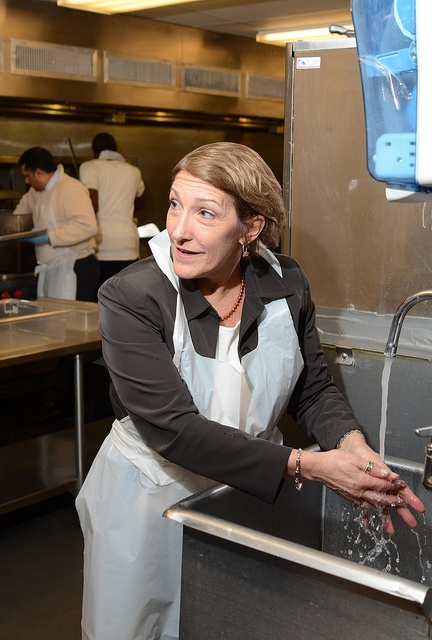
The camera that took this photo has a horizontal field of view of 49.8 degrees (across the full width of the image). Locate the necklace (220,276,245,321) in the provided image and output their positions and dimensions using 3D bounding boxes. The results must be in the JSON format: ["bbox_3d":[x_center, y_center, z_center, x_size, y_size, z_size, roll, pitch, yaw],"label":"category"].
[{"bbox_3d":[0.044,-0.044,0.983,0.021,0.082,0.062,22,36,-23],"label":"necklace"}]

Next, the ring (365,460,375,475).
[{"bbox_3d":[0.250,0.242,0.762,0.005,0.017,0.018,24,15,1],"label":"ring"}]
